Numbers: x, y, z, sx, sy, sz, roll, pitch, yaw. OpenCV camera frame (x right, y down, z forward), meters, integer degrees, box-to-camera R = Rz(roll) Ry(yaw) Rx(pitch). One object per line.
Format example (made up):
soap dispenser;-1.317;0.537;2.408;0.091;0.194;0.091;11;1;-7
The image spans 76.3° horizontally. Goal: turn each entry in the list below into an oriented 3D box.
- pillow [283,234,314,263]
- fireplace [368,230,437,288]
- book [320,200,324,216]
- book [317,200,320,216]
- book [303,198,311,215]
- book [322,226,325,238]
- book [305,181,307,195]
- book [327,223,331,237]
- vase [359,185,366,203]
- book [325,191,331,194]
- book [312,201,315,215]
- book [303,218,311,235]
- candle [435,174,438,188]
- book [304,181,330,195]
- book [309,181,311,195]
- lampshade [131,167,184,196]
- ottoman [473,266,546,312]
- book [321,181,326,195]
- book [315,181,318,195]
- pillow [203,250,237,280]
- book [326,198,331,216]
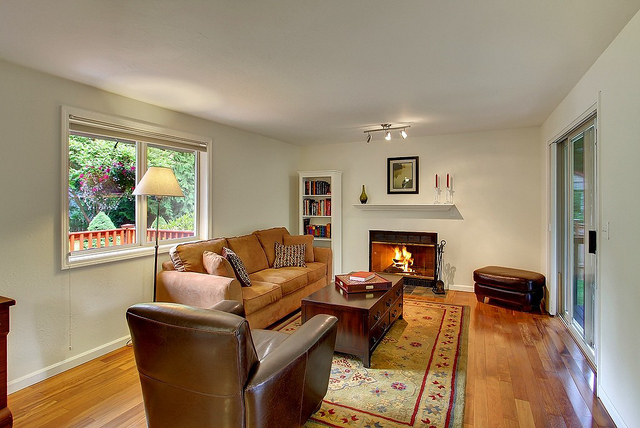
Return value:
pillow;-0.351;0.574;6.539;0.400;0.382;0.136;-1;-14;7
fireplace;1.476;0.858;7.406;1.226;0.994;0.445;4;-26;0
book;0.045;-0.100;7.583;0.046;0.198;0.191;5;-15;7
book;-0.028;-0.100;7.613;0.048;0.270;0.019;-2;-3;26
book;-0.252;-0.122;7.717;0.169;0.299;0.316;0;0;13
book;0.056;0.340;7.650;0.095;0.175;0.181;1;-7;1
book;-0.264;-0.493;7.736;0.038;0.252;0.015;-1;-3;12
book;0.158;0.315;7.598;0.076;0.224;0.237;1;-3;8
vase;0.776;-0.336;7.461;0.083;0.271;0.162;0;-3;-16
book;0.149;-0.393;7.586;0.058;0.058;0.014;-1;4;-3
book;-0.128;-0.104;7.667;0.057;0.251;0.252;0;-3;10
book;-0.254;0.247;7.764;0.043;0.410;0.305;-1;-2;28
candle;1.947;-0.549;6.796;0.025;0.188;0.135;-2;-3;16
book;-0.053;-0.479;7.645;0.462;0.447;0.250;0;-7;7
book;-0.187;-0.495;7.690;0.033;0.237;0.011;-2;-3;23
lampshade;-1.971;-0.398;5.019;0.653;0.347;0.568;2;3;-19
ottoman;2.689;1.055;5.869;0.565;0.431;0.729;2;-4;-45
book;0.066;-0.531;7.667;0.081;0.138;0.145;0;1;8
book;-0.069;-0.480;7.624;0.057;0.236;0.012;-2;-3;22
pillow;-1.294;0.634;4.968;0.388;0.266;0.153;5;-5;39
book;0.155;-0.112;7.525;0.067;0.298;0.127;0;-3;-13
